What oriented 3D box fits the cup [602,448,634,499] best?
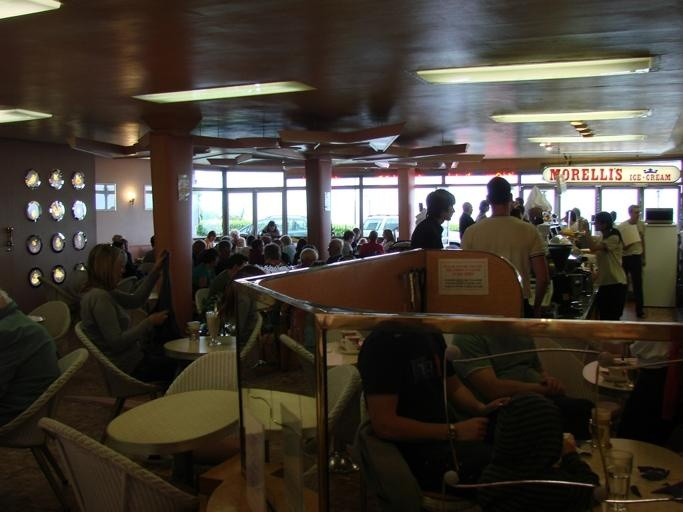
[{"bbox_3d":[0.636,0.496,1.348,0.059,0.098,0.051,-3,5,23],"label":"cup"}]
